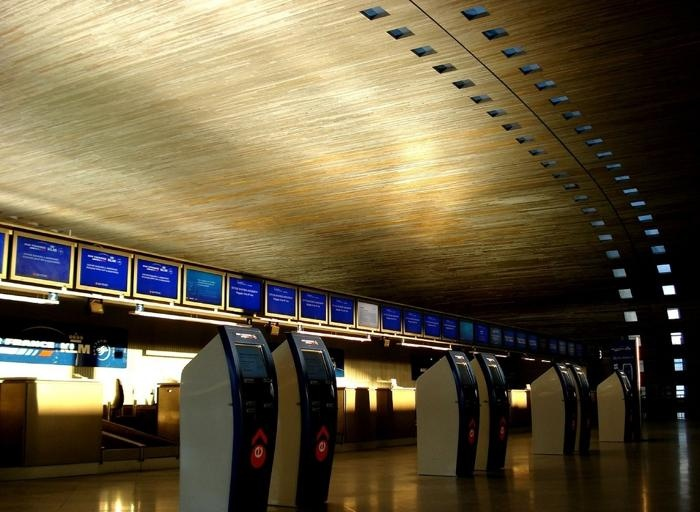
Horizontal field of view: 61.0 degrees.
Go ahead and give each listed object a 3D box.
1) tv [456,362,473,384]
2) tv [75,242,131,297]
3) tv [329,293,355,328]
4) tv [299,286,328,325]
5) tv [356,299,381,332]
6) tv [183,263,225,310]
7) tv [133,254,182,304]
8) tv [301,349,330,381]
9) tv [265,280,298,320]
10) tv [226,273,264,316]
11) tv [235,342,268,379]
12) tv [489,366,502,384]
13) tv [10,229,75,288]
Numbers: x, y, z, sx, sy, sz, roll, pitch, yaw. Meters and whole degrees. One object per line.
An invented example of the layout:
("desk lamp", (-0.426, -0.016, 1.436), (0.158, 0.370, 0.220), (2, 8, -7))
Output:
("tv", (1.753, 1.803, 9.208), (0.047, 0.205, 0.430), (-27, -6, 21))
("tv", (-4.583, 0.254, 10.998), (0.127, 0.748, 1.241), (-18, -19, 41))
("tv", (-0.240, 1.441, 15.920), (0.162, 0.625, 1.133), (-11, -15, 36))
("tv", (-0.958, 1.240, 15.118), (0.052, 0.656, 1.166), (-10, -14, 33))
("tv", (0.470, 1.650, 16.654), (0.120, 0.620, 1.147), (-12, -16, 40))
("tv", (-3.129, 0.645, 12.631), (0.124, 0.657, 1.193), (-19, -21, 37))
("tv", (-3.842, 0.449, 11.781), (0.088, 0.679, 1.178), (-19, -20, 38))
("tv", (-0.400, 1.251, 6.849), (0.108, 0.296, 0.415), (-25, -27, 37))
("tv", (-1.685, 1.059, 14.328), (0.121, 0.646, 1.169), (-16, -19, 39))
("tv", (-2.415, 0.876, 13.533), (0.129, 0.662, 1.214), (-15, -17, 40))
("tv", (-0.966, 1.019, 5.791), (0.061, 0.263, 0.431), (-35, -25, 23))
("tv", (2.492, 1.994, 10.183), (0.243, 0.431, 0.653), (-4, -15, 14))
("tv", (-5.269, 0.052, 10.163), (0.148, 0.805, 1.233), (-16, -17, 40))
